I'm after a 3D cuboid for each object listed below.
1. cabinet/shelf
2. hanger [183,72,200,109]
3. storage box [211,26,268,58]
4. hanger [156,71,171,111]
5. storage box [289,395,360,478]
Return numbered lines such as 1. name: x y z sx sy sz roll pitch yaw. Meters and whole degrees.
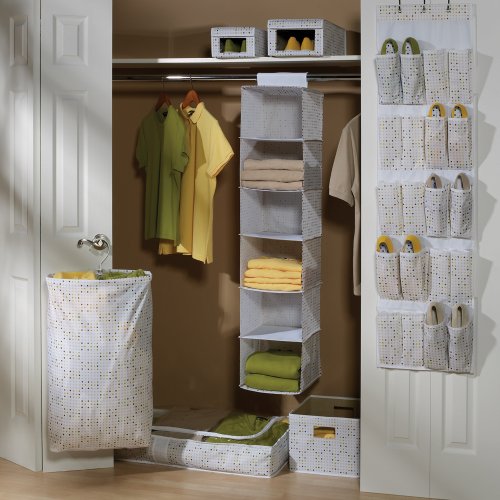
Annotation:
1. cabinet/shelf: 0.182 0.028 3.391 0.476 1.882 0.666 0 11 8
2. hanger: -0.362 -0.960 3.606 0.113 0.198 0.320 -3 14 -5
3. storage box: -0.064 -1.175 3.368 0.318 0.178 0.218 -2 13 -1
4. hanger: -0.535 -0.977 3.649 0.089 0.210 0.280 -3 14 -7
5. storage box: 0.416 0.951 3.247 0.373 0.304 0.645 0 15 10
